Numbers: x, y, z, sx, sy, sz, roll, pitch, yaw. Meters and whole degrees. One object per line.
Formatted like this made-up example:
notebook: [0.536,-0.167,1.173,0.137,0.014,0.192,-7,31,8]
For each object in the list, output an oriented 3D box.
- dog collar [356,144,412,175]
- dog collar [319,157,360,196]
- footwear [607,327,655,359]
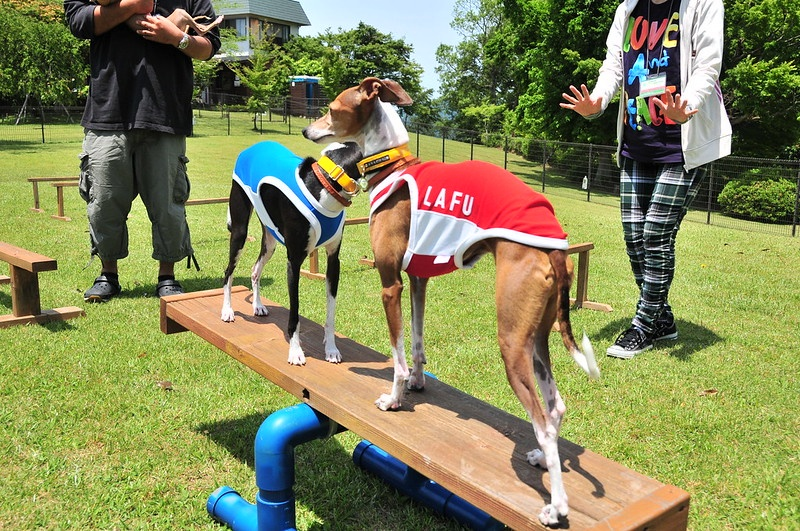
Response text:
dog collar: [-0.122,-0.781,4.225,0.256,0.070,0.249,-19,7,-4]
dog collar: [-0.493,-0.731,4.648,0.347,0.083,0.214,44,2,13]
footwear: [2.502,0.833,6.375,0.643,0.279,0.234,-3,12,-42]
